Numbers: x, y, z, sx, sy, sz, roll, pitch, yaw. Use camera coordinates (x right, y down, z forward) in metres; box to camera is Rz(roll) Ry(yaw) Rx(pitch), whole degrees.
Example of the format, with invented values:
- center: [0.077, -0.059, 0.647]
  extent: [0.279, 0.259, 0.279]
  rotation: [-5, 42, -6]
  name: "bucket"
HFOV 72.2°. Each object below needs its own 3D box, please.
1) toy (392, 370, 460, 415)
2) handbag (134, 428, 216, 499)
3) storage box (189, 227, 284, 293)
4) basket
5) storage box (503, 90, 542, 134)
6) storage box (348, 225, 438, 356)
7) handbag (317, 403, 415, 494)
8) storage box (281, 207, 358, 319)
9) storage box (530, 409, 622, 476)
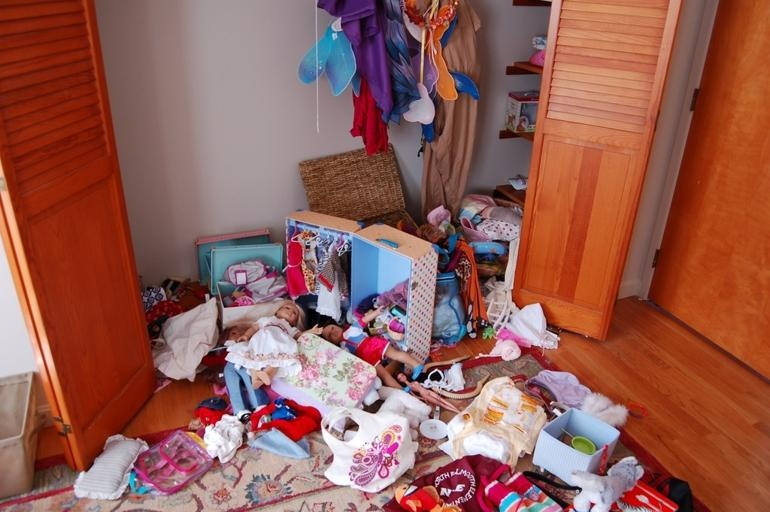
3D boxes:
- center: [0.211, 0.802, 3.056]
  extent: [0.468, 0.072, 0.093]
  rotation: [22, 46, -10]
  name: "toy"
- center: [-1.094, 1.040, 2.685]
  extent: [0.216, 0.057, 0.293]
  rotation: [32, 41, 34]
  name: "handbag"
- center: [-1.074, 0.043, 3.747]
  extent: [0.423, 0.304, 0.121]
  rotation: [-12, 17, -15]
  name: "storage box"
- center: [-0.275, -0.560, 4.140]
  extent: [0.428, 0.481, 0.720]
  rotation: [-19, 13, -26]
  name: "basket"
- center: [1.070, -1.109, 4.073]
  extent: [0.261, 0.238, 0.200]
  rotation: [-6, 27, -23]
  name: "storage box"
- center: [0.041, 0.225, 3.256]
  extent: [0.547, 0.932, 0.305]
  rotation: [20, 30, 32]
  name: "storage box"
- center: [-0.087, 0.980, 2.674]
  extent: [0.414, 0.188, 0.415]
  rotation: [38, 60, 22]
  name: "handbag"
- center: [-0.394, 0.083, 3.578]
  extent: [0.526, 0.788, 0.251]
  rotation: [10, 33, 11]
  name: "storage box"
- center: [0.938, 0.945, 2.692]
  extent: [0.364, 0.267, 0.360]
  rotation: [-23, 33, -37]
  name: "storage box"
